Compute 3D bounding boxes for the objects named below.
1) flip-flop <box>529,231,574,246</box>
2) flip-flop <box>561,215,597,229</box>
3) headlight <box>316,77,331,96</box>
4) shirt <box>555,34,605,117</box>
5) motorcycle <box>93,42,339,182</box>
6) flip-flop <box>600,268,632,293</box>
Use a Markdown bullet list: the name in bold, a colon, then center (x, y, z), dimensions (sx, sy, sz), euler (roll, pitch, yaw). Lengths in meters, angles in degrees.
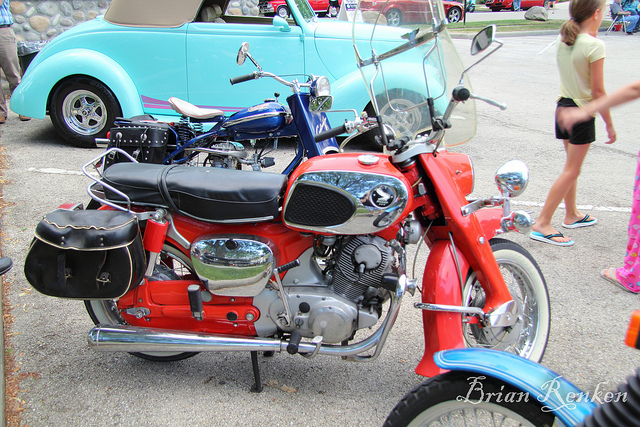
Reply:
- **flip-flop**: center (2.436, 0.259, 5.113), dimensions (0.406, 0.104, 0.150), euler (11, 34, 17)
- **flip-flop**: center (2.856, 0.078, 5.375), dimensions (0.356, 0.093, 0.128), euler (-8, 27, -6)
- **headlight**: center (0.027, -1.198, 4.580), dimensions (0.111, 0.222, 0.207), euler (10, 26, 24)
- **shirt**: center (2.565, -1.423, 4.814), dimensions (0.255, 0.669, 0.552), euler (-7, 31, -10)
- **motorcycle**: center (-0.924, -0.928, 5.551), dimensions (3.044, 1.514, 1.398), euler (4, 8, 14)
- **flip-flop**: center (2.754, 0.625, 4.534), dimensions (0.276, 0.094, 0.094), euler (31, 7, 16)
